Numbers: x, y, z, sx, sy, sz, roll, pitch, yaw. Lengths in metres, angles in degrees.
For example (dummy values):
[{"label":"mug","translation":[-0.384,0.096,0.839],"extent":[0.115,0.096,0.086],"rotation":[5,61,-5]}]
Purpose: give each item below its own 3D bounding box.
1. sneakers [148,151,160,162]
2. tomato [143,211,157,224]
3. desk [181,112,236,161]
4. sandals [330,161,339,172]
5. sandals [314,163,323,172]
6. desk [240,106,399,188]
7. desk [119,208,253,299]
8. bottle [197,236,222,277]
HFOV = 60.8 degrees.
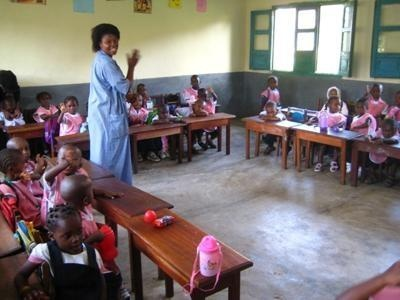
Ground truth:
[{"label":"sneakers","translation":[-0.736,0.116,5.799],"extent":[0.278,0.163,0.102],"rotation":[8,19,29]},{"label":"tomato","translation":[-0.352,0.486,2.464],"extent":[0.078,0.078,0.089],"rotation":[-8,25,1]},{"label":"desk","translation":[0.119,-0.230,6.089],"extent":[0.813,0.596,0.411],"rotation":[-13,20,-37]},{"label":"sandals","translation":[2.030,0.267,5.194],"extent":[0.095,0.090,0.199],"rotation":[1,43,27]},{"label":"sandals","translation":[1.818,0.258,5.265],"extent":[0.074,0.081,0.203],"rotation":[4,6,37]},{"label":"desk","translation":[1.709,-0.027,5.066],"extent":[2.301,0.839,0.459],"rotation":[9,16,44]},{"label":"desk","translation":[-0.128,0.770,2.467],"extent":[0.241,0.397,0.616],"rotation":[-16,24,-36]},{"label":"bottle","translation":[0.056,0.594,1.950],"extent":[0.129,0.209,0.138],"rotation":[-1,12,0]}]
